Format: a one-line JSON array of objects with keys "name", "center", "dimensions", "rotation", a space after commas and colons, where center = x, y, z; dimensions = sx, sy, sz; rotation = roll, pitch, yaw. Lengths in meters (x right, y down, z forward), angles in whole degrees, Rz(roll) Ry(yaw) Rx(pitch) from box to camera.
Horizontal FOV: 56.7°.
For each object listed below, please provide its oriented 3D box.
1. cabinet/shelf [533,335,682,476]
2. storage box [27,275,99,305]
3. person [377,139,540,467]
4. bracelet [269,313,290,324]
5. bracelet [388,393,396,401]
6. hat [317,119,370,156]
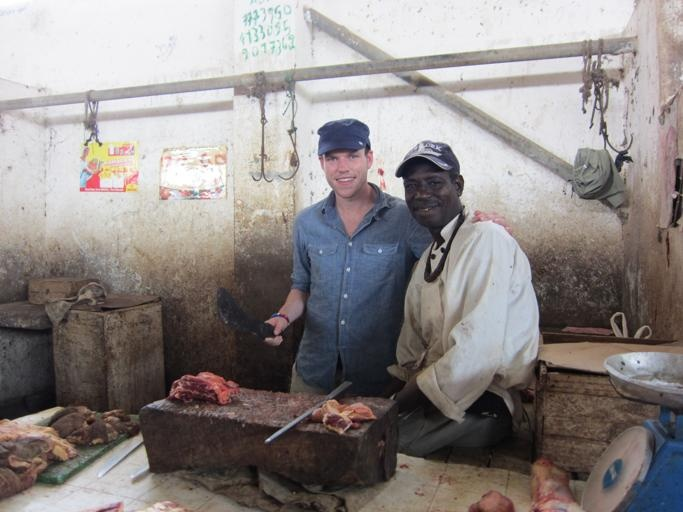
[{"name": "cabinet/shelf", "center": [1.608, 0.955, 4.018], "dimensions": [0.855, 0.679, 0.875], "rotation": [-2, -4, 15]}, {"name": "storage box", "center": [-3.014, 0.368, 6.764], "dimensions": [0.901, 0.249, 0.538], "rotation": [1, 1, 45]}, {"name": "person", "center": [0.847, 0.286, 4.419], "dimensions": [1.028, 2.174, 0.629], "rotation": [1, 3, 18]}, {"name": "bracelet", "center": [-0.485, 0.492, 5.085], "dimensions": [0.145, 0.071, 0.254], "rotation": [0, 1, -6]}, {"name": "bracelet", "center": [0.381, 1.020, 4.649], "dimensions": [0.052, 0.028, 0.079], "rotation": [-23, 3, 9]}, {"name": "hat", "center": [0.026, -0.928, 4.970], "dimensions": [0.401, 0.287, 0.196], "rotation": [0, 2, -3]}]
